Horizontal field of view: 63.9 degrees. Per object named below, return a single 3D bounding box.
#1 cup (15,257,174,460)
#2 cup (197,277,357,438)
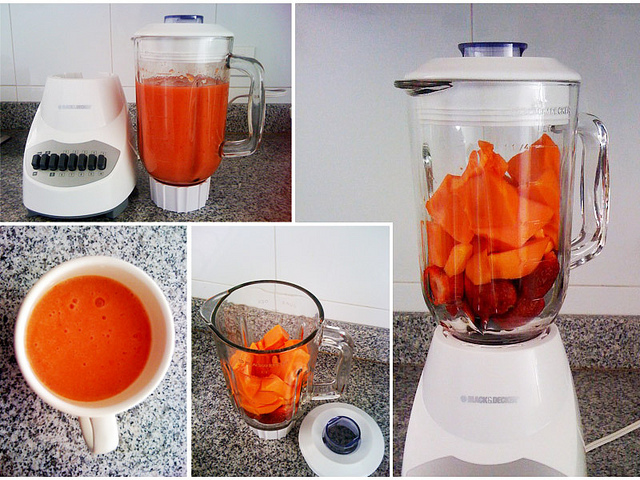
[{"bbox_3d":[-0.386,0.170,0.957,0.240,0.379,0.234,1,-6,0],"label":"cup"},{"bbox_3d":[-0.072,0.294,1.104,0.287,0.347,0.204,7,34,7],"label":"cup"}]
